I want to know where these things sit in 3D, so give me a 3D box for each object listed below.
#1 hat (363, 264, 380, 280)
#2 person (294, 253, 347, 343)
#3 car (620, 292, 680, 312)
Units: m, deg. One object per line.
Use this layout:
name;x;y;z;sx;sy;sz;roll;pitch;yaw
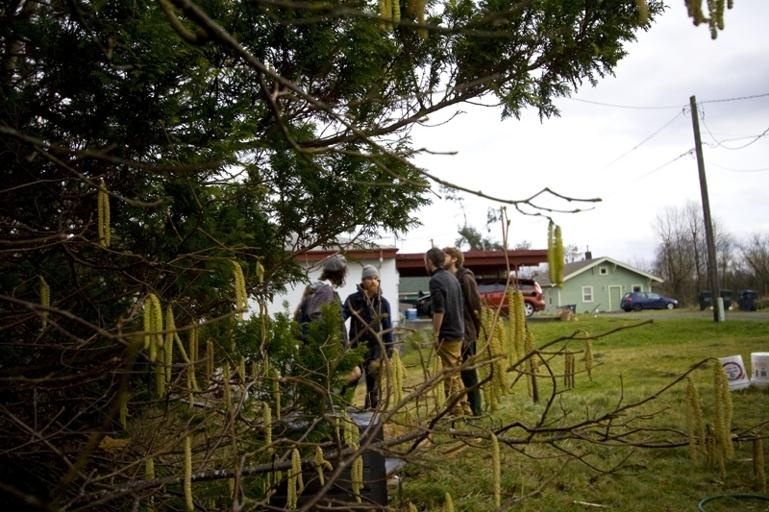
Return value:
hat;-0.205;0.233;9.336;0.194;0.199;0.180;3;1;27
person;-0.778;0.475;8.664;0.652;0.989;1.426;-2;-3;-4
car;14.226;2.579;38.635;2.336;0.870;1.302;-3;-3;4
